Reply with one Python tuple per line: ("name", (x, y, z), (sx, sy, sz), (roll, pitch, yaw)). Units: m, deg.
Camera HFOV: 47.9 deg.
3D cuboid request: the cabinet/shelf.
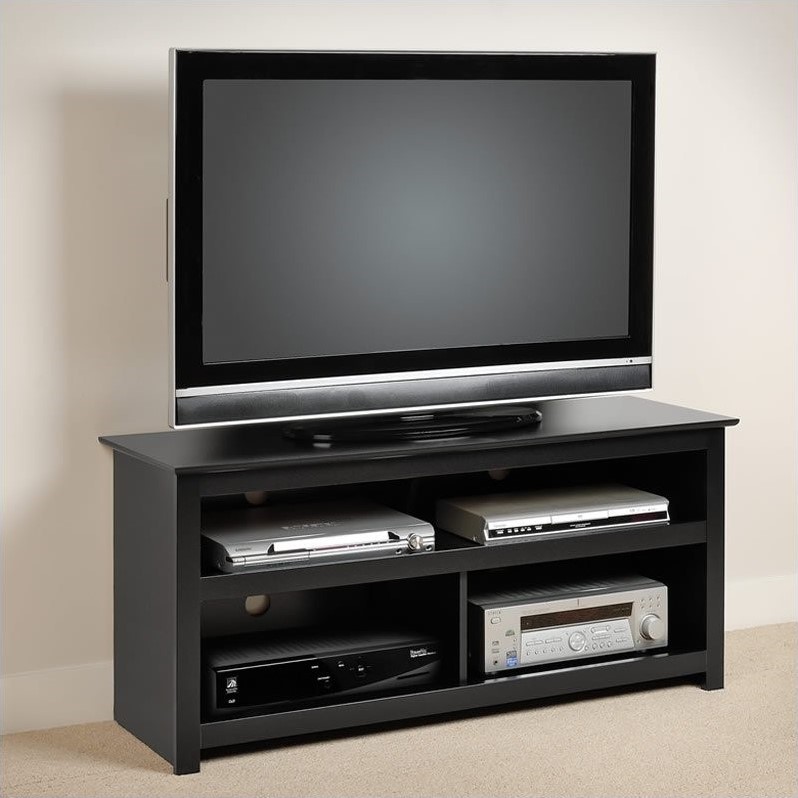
("cabinet/shelf", (0.114, 0.360, 2.186), (1.293, 0.726, 0.505), (-3, 16, -12))
